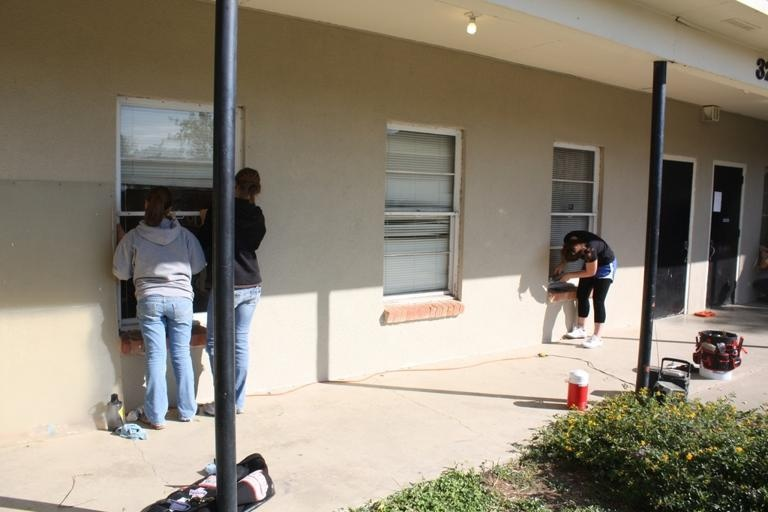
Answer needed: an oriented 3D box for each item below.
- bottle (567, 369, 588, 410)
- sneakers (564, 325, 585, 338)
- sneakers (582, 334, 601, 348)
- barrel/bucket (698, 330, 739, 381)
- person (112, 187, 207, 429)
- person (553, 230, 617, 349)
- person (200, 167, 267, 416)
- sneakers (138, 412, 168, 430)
[{"bbox_3d":[2.186,1.532,6.850,0.220,0.432,0.427,7,14,20],"label":"bottle"},{"bbox_3d":[2.909,1.190,9.374,0.417,0.179,0.139,0,-3,-19],"label":"sneakers"},{"bbox_3d":[3.115,1.282,9.130,0.353,0.149,0.125,-1,0,-38],"label":"sneakers"},{"bbox_3d":[4.417,1.294,8.008,0.573,0.547,0.588,0,5,0],"label":"barrel/bucket"},{"bbox_3d":[-2.248,0.532,6.241,0.877,2.417,0.534,-4,14,-24],"label":"person"},{"bbox_3d":[3.005,0.485,9.098,0.941,1.718,0.609,-6,15,-29],"label":"person"},{"bbox_3d":[-1.576,0.422,6.370,0.688,2.599,1.373,-1,13,-12],"label":"person"},{"bbox_3d":[-2.404,1.736,6.354,0.326,0.144,0.123,5,6,31],"label":"sneakers"}]
